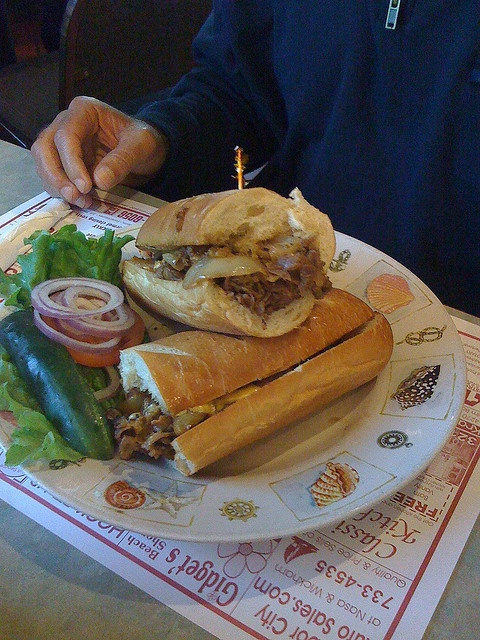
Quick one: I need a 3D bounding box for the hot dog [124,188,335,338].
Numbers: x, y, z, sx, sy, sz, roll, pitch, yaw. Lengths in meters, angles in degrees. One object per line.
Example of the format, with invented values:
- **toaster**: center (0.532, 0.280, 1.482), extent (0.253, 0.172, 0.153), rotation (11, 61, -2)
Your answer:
- **hot dog**: center (-0.066, -0.170, 1.933), extent (0.658, 0.360, 0.469), rotation (21, 59, 31)
